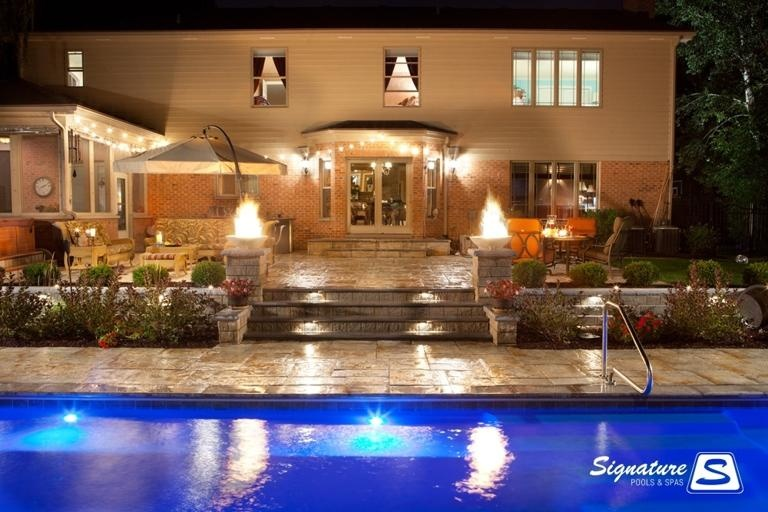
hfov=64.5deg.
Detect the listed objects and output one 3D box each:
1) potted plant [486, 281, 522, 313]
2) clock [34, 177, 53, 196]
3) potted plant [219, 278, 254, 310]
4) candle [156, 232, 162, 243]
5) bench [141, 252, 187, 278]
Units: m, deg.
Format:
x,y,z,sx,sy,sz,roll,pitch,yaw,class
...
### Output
x,y,z,sx,sy,sz,roll,pitch,yaw,class
2.461,0.819,12.482,0.683,0.600,0.655,1,-2,1,potted plant
-10.218,-2.064,18.305,0.604,0.560,0.134,0,-6,10,clock
-3.107,0.803,12.830,0.649,0.560,0.622,0,-2,-5,potted plant
-6.378,-0.543,17.252,0.126,0.363,0.235,-2,3,-26,candle
-5.807,0.214,16.096,1.105,0.592,0.814,-2,3,-22,bench
